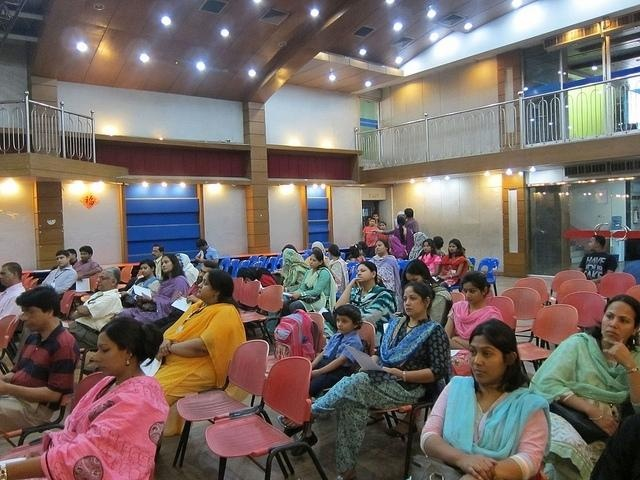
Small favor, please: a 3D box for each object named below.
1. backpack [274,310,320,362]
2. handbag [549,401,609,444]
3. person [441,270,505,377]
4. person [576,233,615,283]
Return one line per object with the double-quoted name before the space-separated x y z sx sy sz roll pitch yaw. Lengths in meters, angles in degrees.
"backpack" -0.269 1.047 4.961 0.393 0.567 0.532 0 -2 -43
"handbag" 1.738 1.232 3.134 0.245 0.097 0.247 -18 33 -32
"person" 1.372 0.833 4.377 0.655 1.043 0.578 -1 2 9
"person" 4.213 0.318 7.100 0.414 0.823 0.588 -6 4 -19
